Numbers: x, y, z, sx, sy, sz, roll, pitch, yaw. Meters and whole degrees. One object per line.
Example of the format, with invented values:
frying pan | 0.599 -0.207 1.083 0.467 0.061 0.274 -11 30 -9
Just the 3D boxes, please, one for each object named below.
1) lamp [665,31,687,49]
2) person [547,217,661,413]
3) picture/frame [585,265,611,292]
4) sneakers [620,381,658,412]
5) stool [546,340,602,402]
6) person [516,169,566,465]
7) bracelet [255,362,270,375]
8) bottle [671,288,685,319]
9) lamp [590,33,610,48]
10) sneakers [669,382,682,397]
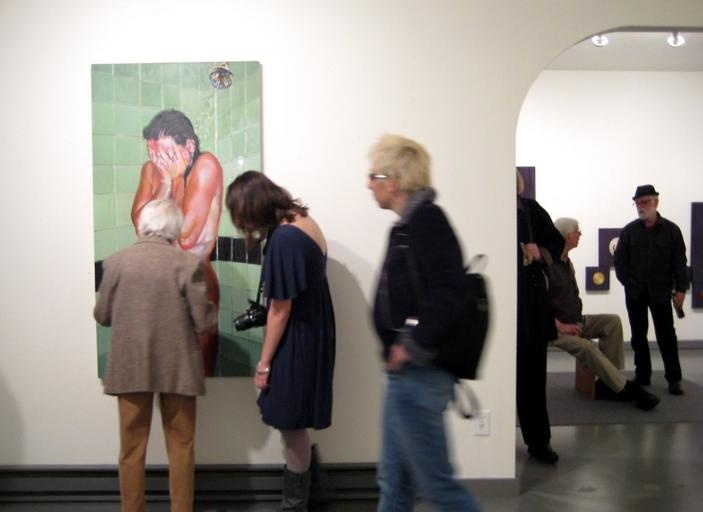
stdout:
lamp | 3.458 -2.298 6.790 0.182 0.124 0.595 5 11 29
person | 2.247 0.517 5.862 0.694 1.694 1.136 -12 9 -37
picture/frame | 2.810 0.260 7.349 0.262 0.270 0.066 2 0 0
sneakers | 2.594 1.216 5.718 0.313 0.250 0.226 4 10 25
stool | 2.153 0.924 6.258 0.260 0.845 0.803 0 -2 -2
person | 1.433 0.447 4.882 0.362 2.143 0.527 2 9 16
bracelet | -0.562 0.705 4.002 0.077 0.047 0.061 8 -6 -36
bottle | 3.286 0.460 6.417 0.055 0.430 0.225 9 36 43
lamp | 2.686 -2.303 6.848 0.266 0.097 0.152 -6 11 -28
sneakers | 3.063 1.244 6.010 0.064 0.131 0.184 0 -19 -3
